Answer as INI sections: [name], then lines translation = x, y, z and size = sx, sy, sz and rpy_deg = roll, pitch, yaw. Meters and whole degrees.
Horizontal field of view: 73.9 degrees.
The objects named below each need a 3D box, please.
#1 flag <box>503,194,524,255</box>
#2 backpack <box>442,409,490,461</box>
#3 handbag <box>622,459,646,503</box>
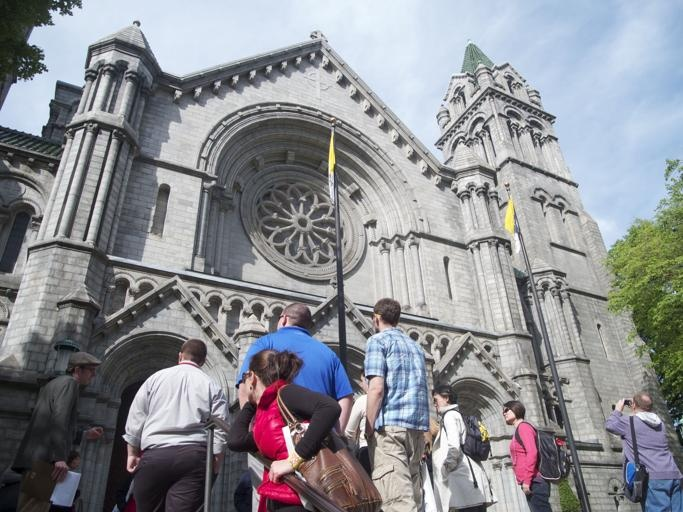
[flag]
translation = 6.940, -1.364, 18.532
size = 0.507, 0.309, 2.487
rpy_deg = -9, -54, 16
[backpack]
translation = 2.028, 2.833, 7.298
size = 0.434, 0.465, 0.495
rpy_deg = 21, -40, -12
[handbag]
translation = 4.442, 3.389, 6.850
size = 0.309, 0.527, 0.312
rpy_deg = -8, -25, 16
